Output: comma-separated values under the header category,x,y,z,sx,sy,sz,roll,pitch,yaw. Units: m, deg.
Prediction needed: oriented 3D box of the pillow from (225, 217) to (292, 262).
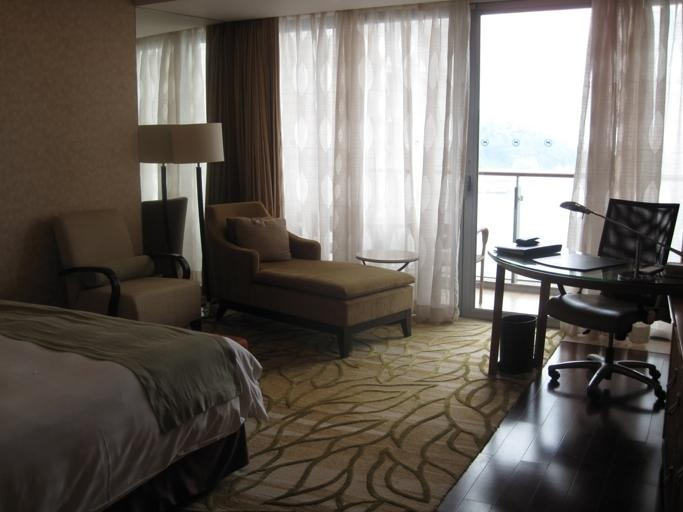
category,x,y,z,sx,sy,sz,roll,pitch,yaw
pillow,-0.825,-0.151,5.410,0.347,0.317,0.148,-9,9,-35

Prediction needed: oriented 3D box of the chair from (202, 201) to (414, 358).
category,x,y,z,sx,sy,sz,roll,pitch,yaw
chair,-0.387,0.111,5.420,1.895,1.290,1.030,4,7,38

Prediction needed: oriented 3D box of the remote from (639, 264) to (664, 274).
category,x,y,z,sx,sy,sz,roll,pitch,yaw
remote,1.991,0.084,3.618,0.084,0.035,0.297,8,13,40

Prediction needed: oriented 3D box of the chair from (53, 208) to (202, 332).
category,x,y,z,sx,sy,sz,roll,pitch,yaw
chair,-1.833,0.075,5.088,1.141,1.348,0.875,5,11,28
